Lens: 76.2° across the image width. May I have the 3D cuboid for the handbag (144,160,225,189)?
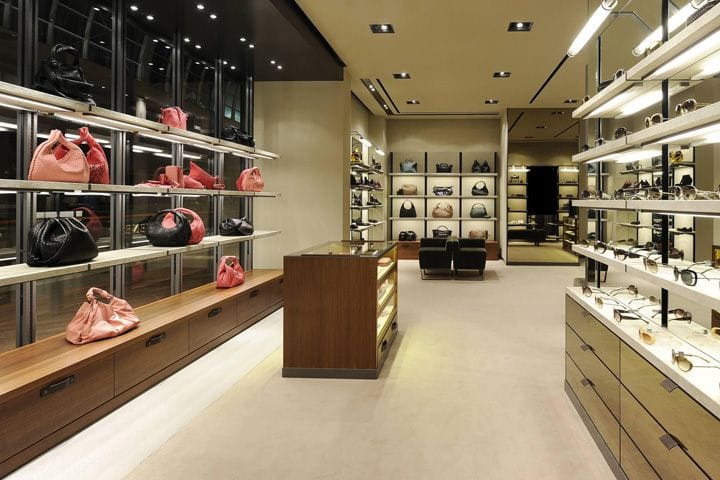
[{"bbox_3d":[-2.020,-0.707,5.376,0.421,0.198,0.586,1,1,27],"label":"handbag"}]

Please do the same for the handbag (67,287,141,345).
[{"bbox_3d":[-2.388,0.718,4.211,0.437,0.484,0.678,-6,0,20],"label":"handbag"}]

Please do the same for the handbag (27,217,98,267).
[{"bbox_3d":[-2.588,0.023,3.924,0.364,0.476,0.675,-1,-5,11],"label":"handbag"}]

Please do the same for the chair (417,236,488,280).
[{"bbox_3d":[1.869,0.336,9.591,1.040,0.663,0.985,0,5,8],"label":"chair"}]

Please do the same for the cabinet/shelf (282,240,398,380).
[{"bbox_3d":[-0.107,0.928,5.552,1.070,1.222,1.989,-3,-13,15],"label":"cabinet/shelf"}]

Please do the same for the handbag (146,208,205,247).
[{"bbox_3d":[-2.069,-0.100,5.091,0.486,0.371,0.511,-4,3,-44],"label":"handbag"}]

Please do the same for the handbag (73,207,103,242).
[{"bbox_3d":[-2.959,-0.174,4.976,0.107,0.314,0.218,-20,17,-34],"label":"handbag"}]

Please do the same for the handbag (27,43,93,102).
[{"bbox_3d":[-2.656,-1.458,4.070,0.403,0.493,0.674,-9,16,-33],"label":"handbag"}]

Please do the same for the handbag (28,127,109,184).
[{"bbox_3d":[-2.599,-0.732,4.033,0.355,0.589,0.703,2,0,26],"label":"handbag"}]

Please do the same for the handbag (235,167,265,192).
[{"bbox_3d":[-1.527,-0.828,6.502,0.398,0.352,0.314,-7,1,10],"label":"handbag"}]

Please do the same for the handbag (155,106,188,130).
[{"bbox_3d":[-2.072,-1.347,5.121,0.317,0.332,0.284,-2,6,-8],"label":"handbag"}]

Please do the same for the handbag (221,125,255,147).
[{"bbox_3d":[-1.756,-1.464,6.423,0.390,0.180,0.310,9,12,32],"label":"handbag"}]

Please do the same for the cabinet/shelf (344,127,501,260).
[{"bbox_3d":[1.672,-1.162,11.208,3.456,3.283,1.125,0,-2,2],"label":"cabinet/shelf"}]
